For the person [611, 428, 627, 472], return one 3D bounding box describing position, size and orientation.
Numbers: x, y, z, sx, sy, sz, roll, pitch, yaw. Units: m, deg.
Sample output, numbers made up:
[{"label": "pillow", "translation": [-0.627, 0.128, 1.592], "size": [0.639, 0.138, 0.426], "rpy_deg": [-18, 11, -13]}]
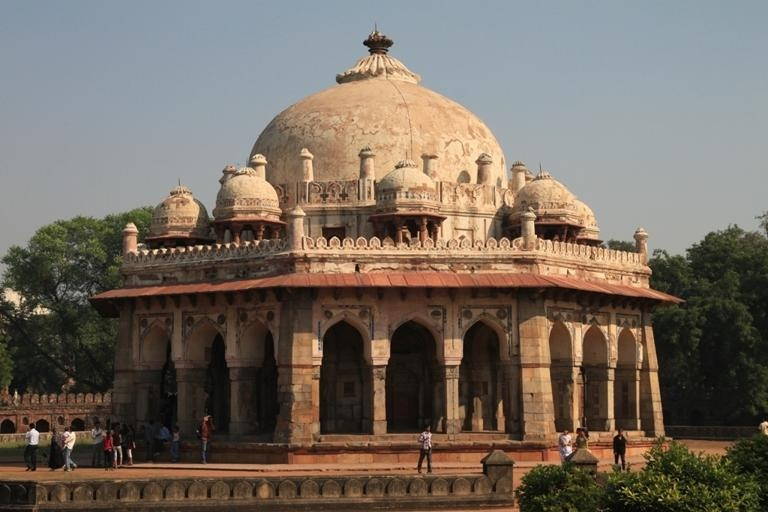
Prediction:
[{"label": "person", "translation": [8.563, 7.017, 58.587], "size": [0.520, 1.460, 0.405], "rpy_deg": [3, 30, 15]}]
